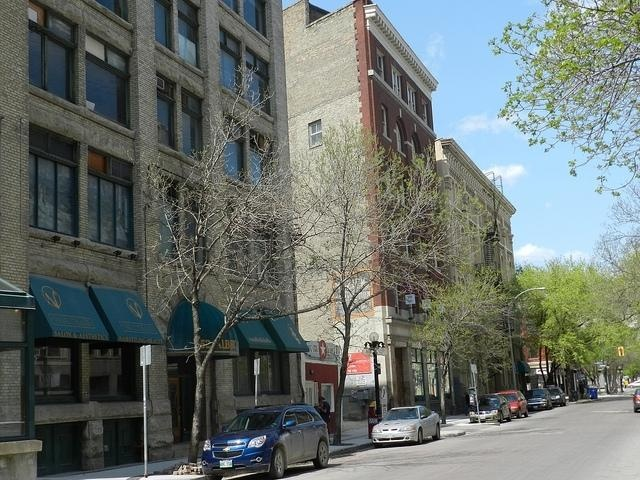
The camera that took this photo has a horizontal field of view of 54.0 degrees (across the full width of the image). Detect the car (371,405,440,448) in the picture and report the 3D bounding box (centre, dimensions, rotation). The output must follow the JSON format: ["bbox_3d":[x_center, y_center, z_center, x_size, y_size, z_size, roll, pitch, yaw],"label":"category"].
[{"bbox_3d":[3.718,7.937,26.948,1.930,1.646,3.295,-20,-24,35],"label":"car"}]
